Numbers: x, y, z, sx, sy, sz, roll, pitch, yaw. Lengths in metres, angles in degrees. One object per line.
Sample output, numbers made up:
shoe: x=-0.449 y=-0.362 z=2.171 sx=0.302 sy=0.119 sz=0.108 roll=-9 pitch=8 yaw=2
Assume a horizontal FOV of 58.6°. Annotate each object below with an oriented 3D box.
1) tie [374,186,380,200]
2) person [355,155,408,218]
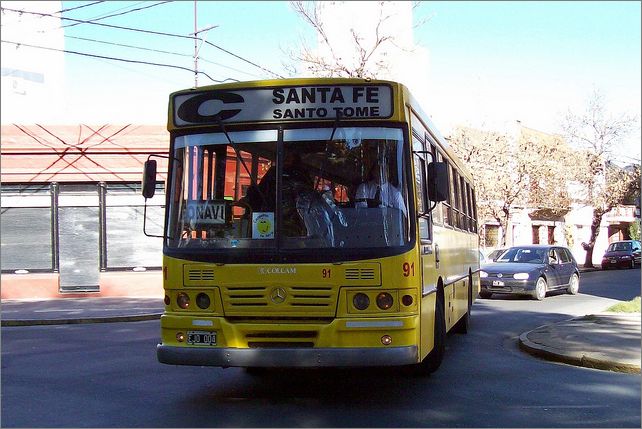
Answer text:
tie: x=0.764 y=-0.282 z=7.722 sx=0.092 sy=0.188 sz=0.067 roll=-1 pitch=0 yaw=11
person: x=0.820 y=-0.336 z=7.736 sx=0.716 sy=1.091 sz=0.420 roll=1 pitch=-20 yaw=-4
